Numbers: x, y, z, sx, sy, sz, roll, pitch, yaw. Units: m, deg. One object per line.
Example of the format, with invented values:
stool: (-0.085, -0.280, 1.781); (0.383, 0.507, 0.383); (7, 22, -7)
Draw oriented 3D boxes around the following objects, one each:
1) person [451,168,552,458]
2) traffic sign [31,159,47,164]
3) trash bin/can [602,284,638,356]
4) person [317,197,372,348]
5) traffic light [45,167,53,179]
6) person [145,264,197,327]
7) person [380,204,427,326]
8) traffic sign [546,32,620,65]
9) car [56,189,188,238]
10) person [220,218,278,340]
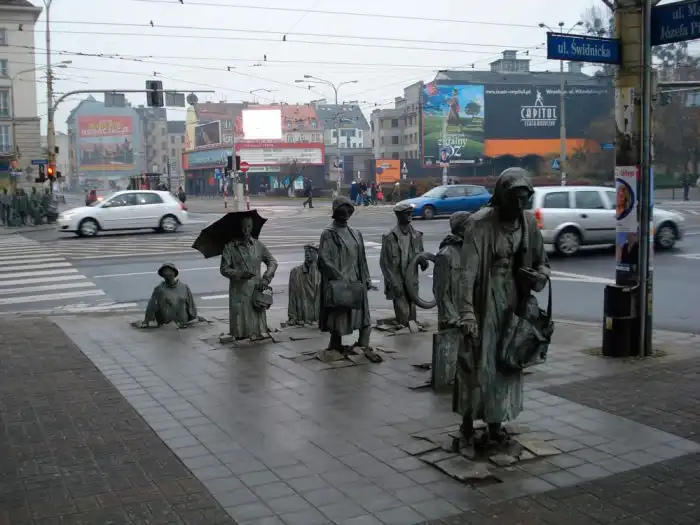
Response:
person: (1.398, 0.614, 7.472); (0.884, 2.344, 0.378); (-3, 9, -11)
traffic sign: (-15.526, -5.045, 40.124); (0.529, 0.133, 0.558); (-1, 2, -35)
trash bin/can: (3.559, 0.753, 10.489); (0.442, 0.916, 0.325); (2, 9, 19)
person: (-0.072, 0.160, 10.723); (0.710, 2.109, 0.595); (-3, 8, -8)
traffic light: (-13.928, -4.164, 37.198); (0.325, 0.613, 0.537); (-7, 10, -34)
person: (-2.950, 0.485, 13.085); (0.887, 1.047, 0.596); (-4, 9, -16)
person: (0.794, 0.091, 12.108); (0.658, 1.921, 1.467); (-1, 8, 4)
traffic sign: (3.011, -2.770, 10.383); (1.255, 0.388, 0.293); (-7, 10, -34)
car: (-8.363, -1.775, 29.818); (4.051, 1.351, 1.900); (0, 2, -27)
person: (-1.488, 0.226, 11.750); (0.770, 1.849, 0.545); (-3, 8, -8)
